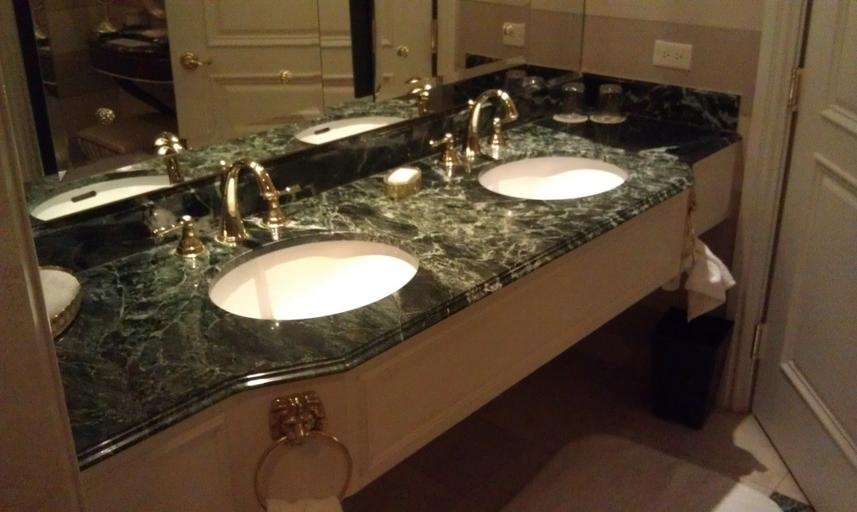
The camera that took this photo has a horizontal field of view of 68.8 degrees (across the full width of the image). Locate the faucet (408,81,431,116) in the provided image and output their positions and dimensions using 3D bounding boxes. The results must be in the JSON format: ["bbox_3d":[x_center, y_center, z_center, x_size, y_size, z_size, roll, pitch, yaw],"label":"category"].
[{"bbox_3d":[-0.041,-0.599,2.369,0.077,0.115,0.073,14,44,19],"label":"faucet"}]

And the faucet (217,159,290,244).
[{"bbox_3d":[-0.560,-0.167,1.959,0.218,0.258,0.097,-14,48,-22],"label":"faucet"}]

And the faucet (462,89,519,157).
[{"bbox_3d":[0.228,-0.516,2.445,0.215,0.285,0.112,-3,47,1],"label":"faucet"}]
